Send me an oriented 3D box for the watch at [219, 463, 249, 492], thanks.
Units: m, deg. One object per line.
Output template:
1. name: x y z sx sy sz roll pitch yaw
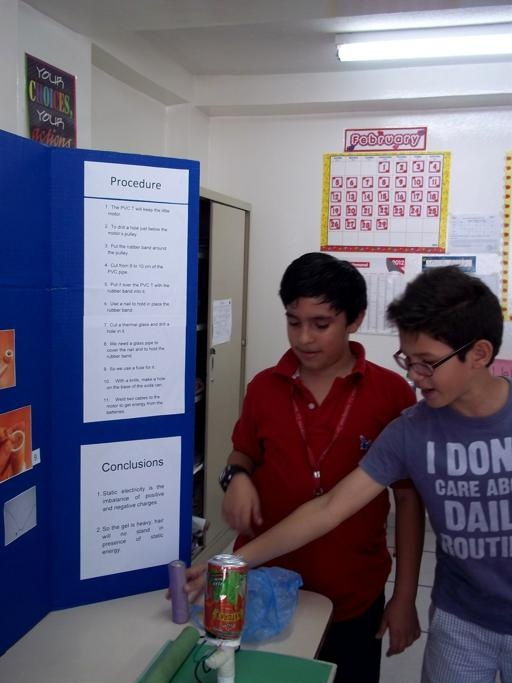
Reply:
1. watch: -0.054 0.326 1.302 0.052 0.074 0.061 22 -15 -38

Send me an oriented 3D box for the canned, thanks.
1. canned: -0.046 0.380 0.786 0.062 0.110 0.067 -2 2 -31

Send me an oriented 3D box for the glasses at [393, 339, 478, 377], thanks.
1. glasses: 0.312 0.021 0.930 0.073 0.023 0.070 -34 15 -15
